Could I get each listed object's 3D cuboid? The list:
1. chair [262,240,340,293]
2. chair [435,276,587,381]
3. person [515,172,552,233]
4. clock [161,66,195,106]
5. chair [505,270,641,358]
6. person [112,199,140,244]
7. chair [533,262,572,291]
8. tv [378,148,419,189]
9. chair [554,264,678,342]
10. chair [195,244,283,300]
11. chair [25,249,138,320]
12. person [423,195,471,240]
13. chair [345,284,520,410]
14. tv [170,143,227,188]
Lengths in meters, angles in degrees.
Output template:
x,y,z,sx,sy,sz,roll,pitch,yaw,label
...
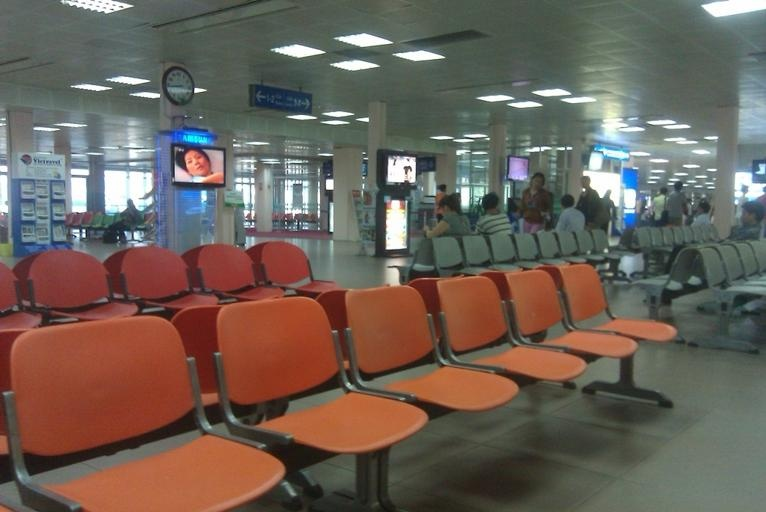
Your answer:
x,y,z,sx,sy,sz,roll,pitch,yaw,label
-0.851,0.127,6.458,0.638,0.487,0.698,2,5,34,chair
0.835,0.468,4.119,0.661,0.509,0.935,-8,10,-41,chair
2.823,-0.977,11.754,0.594,1.118,0.987,4,13,11,person
-3.516,-2.877,10.773,0.104,0.670,0.711,9,15,27,clock
1.280,0.449,4.478,0.569,0.490,0.836,-13,19,-28,chair
-8.387,-1.160,20.647,0.692,1.257,1.549,0,13,-5,person
1.404,0.152,5.272,0.236,0.262,0.212,-16,28,8,chair
0.470,-2.003,14.694,0.207,0.852,1.482,-6,12,-32,tv
1.803,0.364,4.926,0.537,0.450,0.848,-8,11,-33,chair
-1.494,0.174,6.267,0.670,0.495,0.888,-3,9,-43,chair
-2.545,0.261,5.432,0.705,0.535,0.799,7,6,27,chair
0.918,-0.543,8.897,0.541,0.627,0.720,3,13,10,person
0.270,0.501,3.706,0.727,0.608,0.945,-7,6,-38,chair
-3.257,-1.555,10.943,0.934,0.606,0.122,1,-1,-43,tv
